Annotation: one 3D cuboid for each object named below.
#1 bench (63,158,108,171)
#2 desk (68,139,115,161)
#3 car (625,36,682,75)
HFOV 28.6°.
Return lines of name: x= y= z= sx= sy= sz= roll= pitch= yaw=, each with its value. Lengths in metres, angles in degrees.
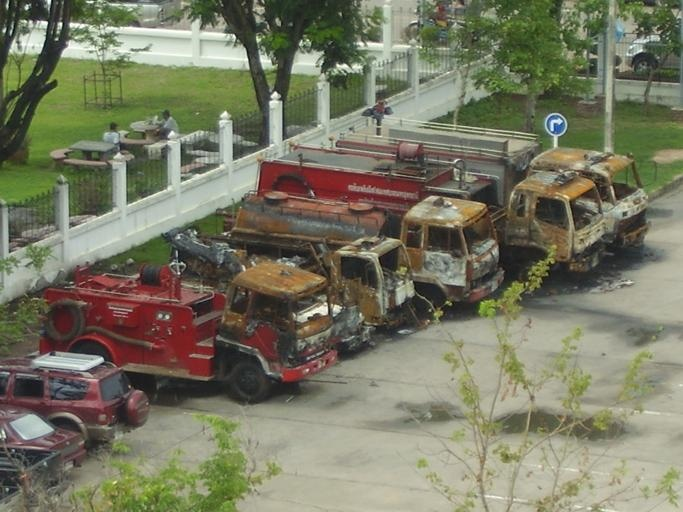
bench: x=-6.955 y=-2.450 z=36.511 sx=0.773 sy=0.258 sz=1.520 roll=-9 pitch=15 yaw=-44
desk: x=-6.790 y=-2.830 z=36.770 sx=1.359 sy=0.487 sz=1.032 roll=11 pitch=14 yaw=42
car: x=10.565 y=-6.713 z=45.347 sx=1.754 sy=1.058 sz=1.267 roll=-2 pitch=22 yaw=15
